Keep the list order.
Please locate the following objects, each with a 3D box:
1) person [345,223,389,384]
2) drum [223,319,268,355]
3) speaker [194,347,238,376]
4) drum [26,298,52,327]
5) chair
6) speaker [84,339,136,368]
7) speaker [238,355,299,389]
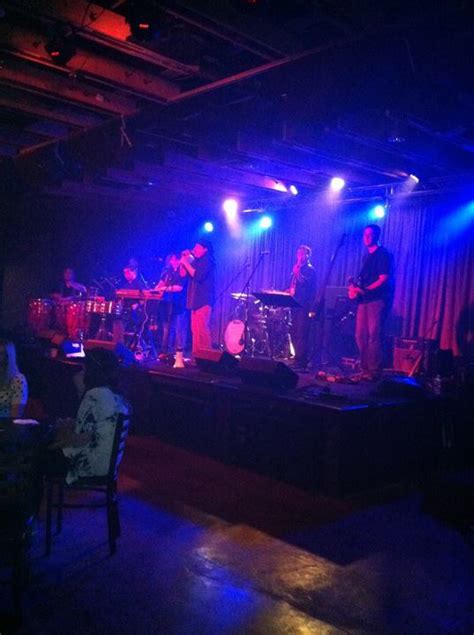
[{"bbox_3d":[1.585,-0.198,5.903,0.490,1.847,0.678,2,2,30],"label":"person"},{"bbox_3d":[0.117,0.408,9.007,0.505,0.849,0.404,3,8,21],"label":"drum"},{"bbox_3d":[-0.216,0.471,5.146,0.340,0.264,0.266,1,-3,43],"label":"speaker"},{"bbox_3d":[-4.291,-0.086,10.605,0.646,0.645,0.242,2,2,35],"label":"drum"},{"bbox_3d":[-0.923,1.027,3.052,0.527,0.854,0.538,7,-6,-35],"label":"chair"},{"bbox_3d":[-1.188,0.341,4.619,0.233,0.192,0.185,11,12,41],"label":"speaker"},{"bbox_3d":[0.266,0.519,4.535,0.597,0.268,0.233,2,1,36],"label":"speaker"}]
